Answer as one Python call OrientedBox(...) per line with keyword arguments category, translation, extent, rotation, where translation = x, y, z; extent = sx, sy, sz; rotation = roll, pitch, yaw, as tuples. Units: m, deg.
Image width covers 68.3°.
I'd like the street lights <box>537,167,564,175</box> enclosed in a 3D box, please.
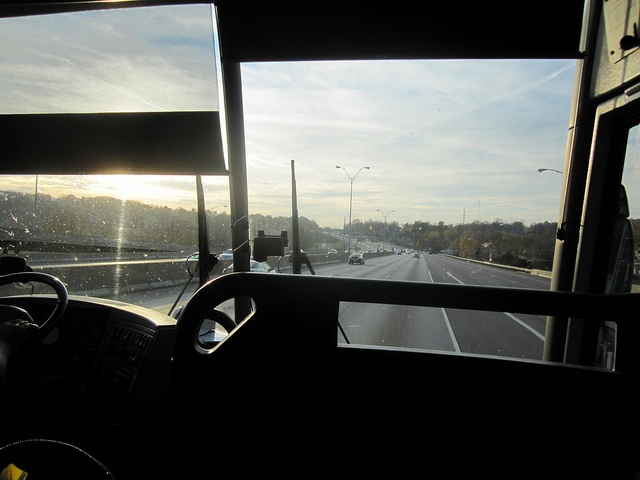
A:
OrientedBox(category="street lights", translation=(1.654, -0.500, 3.352), extent=(0.127, 0.039, 0.222), rotation=(3, 5, -3))
